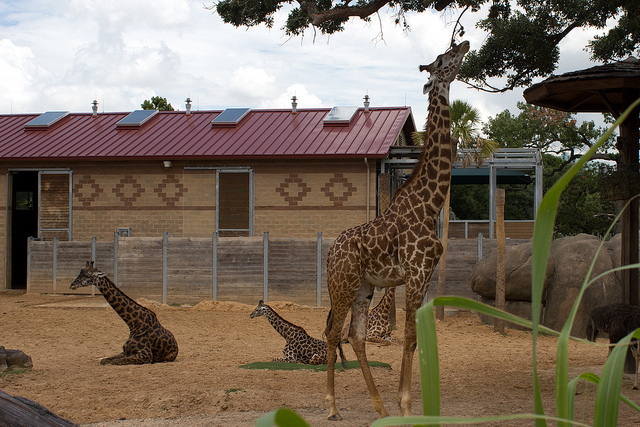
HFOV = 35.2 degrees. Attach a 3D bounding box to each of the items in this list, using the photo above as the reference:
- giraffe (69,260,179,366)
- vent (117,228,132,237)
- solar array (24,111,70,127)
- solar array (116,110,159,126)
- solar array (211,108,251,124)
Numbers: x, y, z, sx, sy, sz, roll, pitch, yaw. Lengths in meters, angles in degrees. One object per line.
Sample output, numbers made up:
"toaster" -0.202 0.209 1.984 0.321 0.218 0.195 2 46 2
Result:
"giraffe" -4.996 2.645 26.458 2.809 2.770 1.284 3 -11 -20
"vent" -6.752 0.629 35.225 0.320 0.165 0.352 0 7 1
"solar array" -10.588 -3.681 39.104 1.274 0.478 1.811 1 11 7
"solar array" -6.893 -3.641 38.278 1.057 0.459 1.472 2 11 14
"solar array" -3.238 -3.633 37.042 1.423 0.647 2.725 -2 10 -6
